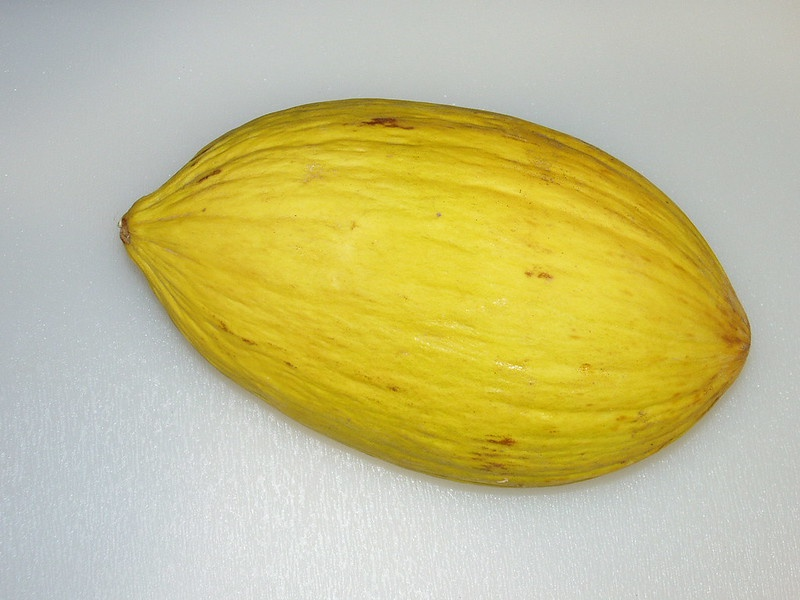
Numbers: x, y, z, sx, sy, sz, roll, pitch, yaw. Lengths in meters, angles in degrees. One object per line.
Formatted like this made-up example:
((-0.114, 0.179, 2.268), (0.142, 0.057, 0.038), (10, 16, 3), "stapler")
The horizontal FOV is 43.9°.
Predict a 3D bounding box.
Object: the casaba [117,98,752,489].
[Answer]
((0.046, -0.013, 1.992), (1.078, 0.597, 0.530), (15, 82, 4), "casaba")
